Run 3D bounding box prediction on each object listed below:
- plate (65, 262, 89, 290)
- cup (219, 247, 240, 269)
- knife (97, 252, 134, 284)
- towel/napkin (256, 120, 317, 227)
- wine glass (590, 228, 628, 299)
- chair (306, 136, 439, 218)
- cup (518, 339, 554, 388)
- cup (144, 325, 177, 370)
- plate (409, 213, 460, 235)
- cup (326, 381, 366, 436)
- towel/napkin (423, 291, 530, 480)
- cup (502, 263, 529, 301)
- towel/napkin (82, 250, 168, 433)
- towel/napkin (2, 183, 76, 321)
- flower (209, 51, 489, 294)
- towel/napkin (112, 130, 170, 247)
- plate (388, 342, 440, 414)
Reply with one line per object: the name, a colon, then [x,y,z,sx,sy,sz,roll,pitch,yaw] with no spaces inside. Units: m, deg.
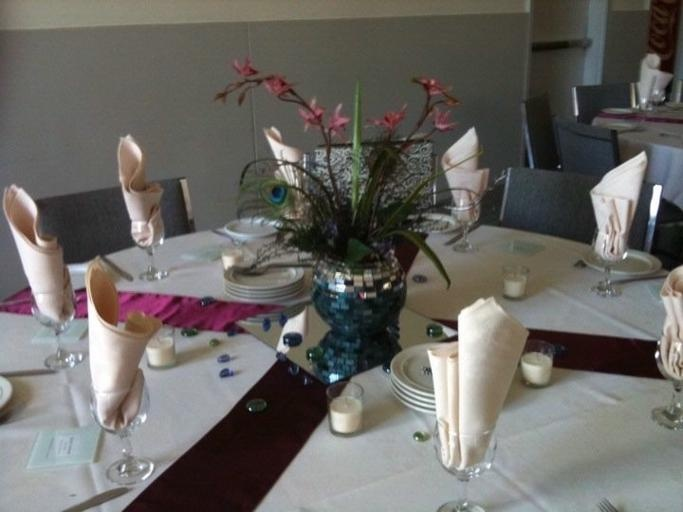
plate: [-0.817,0.065,1.591,0.075,0.056,0.054,-1,7,-11]
cup: [-0.402,-0.001,1.829,0.068,0.066,0.069,3,17,-1]
knife: [-0.725,0.041,1.664,0.038,0.014,0.164,-32,41,-25]
towel/napkin: [-0.163,-0.246,1.494,0.129,0.295,0.106,-8,-28,23]
wine glass: [0.830,0.027,1.606,0.116,0.247,0.120,2,26,23]
chair: [0.089,-0.250,1.597,0.361,0.242,0.377,-6,4,3]
cup: [0.455,0.255,1.263,0.074,0.104,0.101,11,15,39]
cup: [-0.464,0.236,1.349,0.089,0.110,0.092,0,2,0]
plate: [0.315,-0.104,1.734,0.109,0.023,0.111,-10,26,-18]
cup: [0.009,0.329,1.104,0.080,0.096,0.085,0,9,0]
towel/napkin: [0.211,0.206,0.838,0.149,0.277,0.126,7,26,21]
cup: [0.517,0.078,1.617,0.087,0.107,0.092,-2,19,1]
towel/napkin: [-0.436,0.183,0.993,0.128,0.305,0.141,8,2,36]
towel/napkin: [-0.804,-0.019,1.370,0.101,0.310,0.306,-17,28,-28]
flower: [0.112,-0.203,1.381,0.608,0.440,0.548,0,0,-40]
towel/napkin: [-0.700,-0.232,1.811,0.130,0.372,0.243,-13,26,-20]
plate: [0.158,0.287,1.175,0.151,0.065,0.158,2,27,4]
